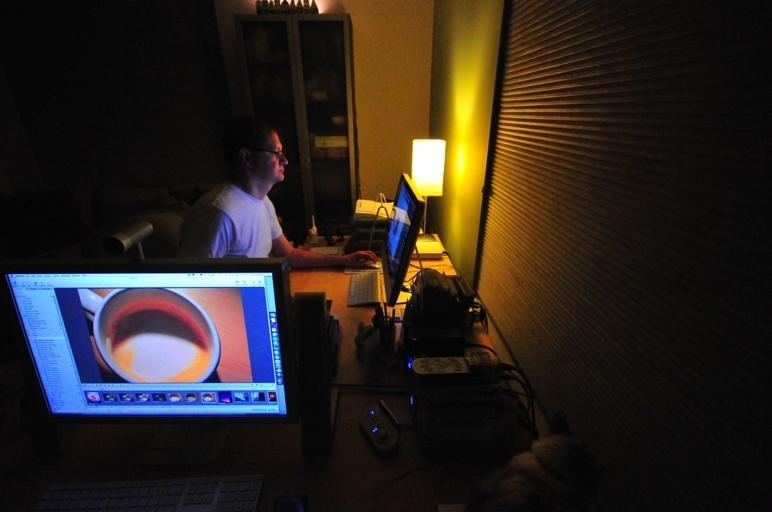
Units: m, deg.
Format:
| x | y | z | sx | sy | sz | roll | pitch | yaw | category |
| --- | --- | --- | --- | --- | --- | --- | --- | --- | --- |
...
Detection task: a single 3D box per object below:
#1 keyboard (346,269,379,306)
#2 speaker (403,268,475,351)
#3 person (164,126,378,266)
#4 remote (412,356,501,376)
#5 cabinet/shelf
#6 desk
| x | y | z | sx | sy | sz | roll | pitch | yaw | category |
| --- | --- | --- | --- | --- | --- | --- | --- | --- | --- |
| -0.121 | 0.181 | 2.995 | 0.143 | 0.055 | 0.261 | 0 | 27 | -4 | keyboard |
| 0.199 | 0.268 | 2.647 | 0.318 | 0.410 | 0.423 | 1 | 21 | -7 | speaker |
| -0.646 | -0.364 | 3.282 | 1.138 | 0.896 | 0.728 | -3 | 20 | -17 | person |
| 0.281 | 0.461 | 2.314 | 0.272 | 0.039 | 0.130 | 0 | 8 | 1 | remote |
| -0.742 | -1.180 | 5.025 | 0.868 | 2.211 | 0.402 | -3 | 48 | -4 | cabinet/shelf |
| -0.846 | 0.415 | 2.519 | 1.243 | 0.759 | 1.167 | 2 | 21 | -4 | desk |
